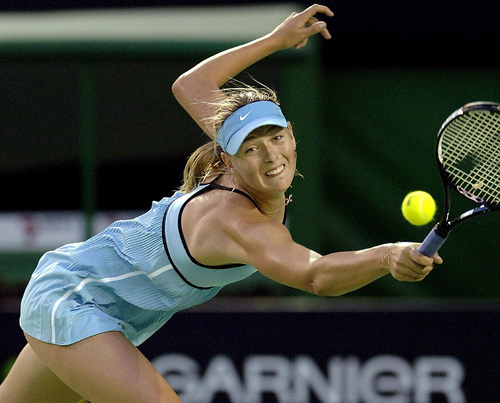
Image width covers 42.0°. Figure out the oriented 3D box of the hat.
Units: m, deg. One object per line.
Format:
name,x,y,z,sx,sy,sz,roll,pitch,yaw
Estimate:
hat,0.025,-0.324,2.731,0.309,0.121,0.297,-17,-3,-16
